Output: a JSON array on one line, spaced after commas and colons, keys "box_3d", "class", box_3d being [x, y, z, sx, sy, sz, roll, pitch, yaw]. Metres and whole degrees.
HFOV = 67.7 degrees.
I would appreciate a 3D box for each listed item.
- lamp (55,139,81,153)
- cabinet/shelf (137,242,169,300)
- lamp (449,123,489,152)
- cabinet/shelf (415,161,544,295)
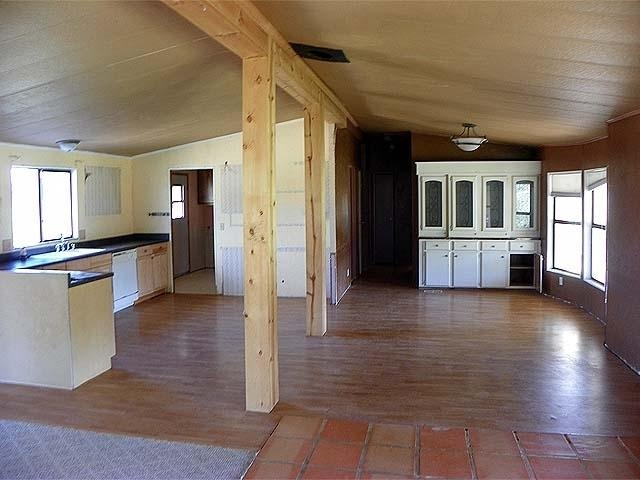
[{"box_3d": [-3.625, -1.377, 6.917, 0.219, 0.076, 0.226, -2, 3, 40], "class": "lamp"}, {"box_3d": [-3.055, 0.545, 8.628, 0.374, 0.880, 0.998, 0, 2, 9], "class": "cabinet/shelf"}, {"box_3d": [2.379, -1.621, 7.636, 0.596, 0.460, 0.612, 0, -3, 8], "class": "lamp"}, {"box_3d": [3.026, -0.282, 9.181, 2.172, 2.448, 0.832, 0, 7, 14], "class": "cabinet/shelf"}]
